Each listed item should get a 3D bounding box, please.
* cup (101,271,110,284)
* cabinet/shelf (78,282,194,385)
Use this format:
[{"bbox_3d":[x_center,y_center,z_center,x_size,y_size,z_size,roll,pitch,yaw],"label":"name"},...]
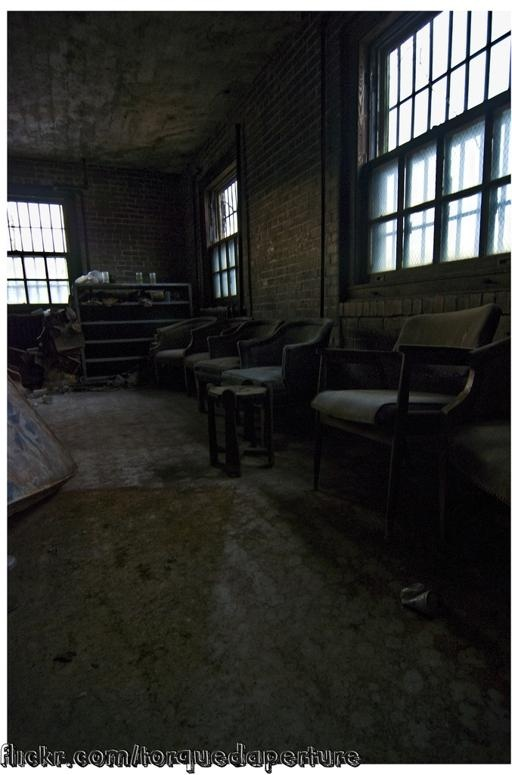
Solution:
[{"bbox_3d":[-1.955,-1.417,6.426,0.104,0.192,0.573,-4,8,-16],"label":"cup"},{"bbox_3d":[-1.593,-0.641,6.268,1.207,1.230,0.393,-4,6,-37],"label":"cabinet/shelf"}]
